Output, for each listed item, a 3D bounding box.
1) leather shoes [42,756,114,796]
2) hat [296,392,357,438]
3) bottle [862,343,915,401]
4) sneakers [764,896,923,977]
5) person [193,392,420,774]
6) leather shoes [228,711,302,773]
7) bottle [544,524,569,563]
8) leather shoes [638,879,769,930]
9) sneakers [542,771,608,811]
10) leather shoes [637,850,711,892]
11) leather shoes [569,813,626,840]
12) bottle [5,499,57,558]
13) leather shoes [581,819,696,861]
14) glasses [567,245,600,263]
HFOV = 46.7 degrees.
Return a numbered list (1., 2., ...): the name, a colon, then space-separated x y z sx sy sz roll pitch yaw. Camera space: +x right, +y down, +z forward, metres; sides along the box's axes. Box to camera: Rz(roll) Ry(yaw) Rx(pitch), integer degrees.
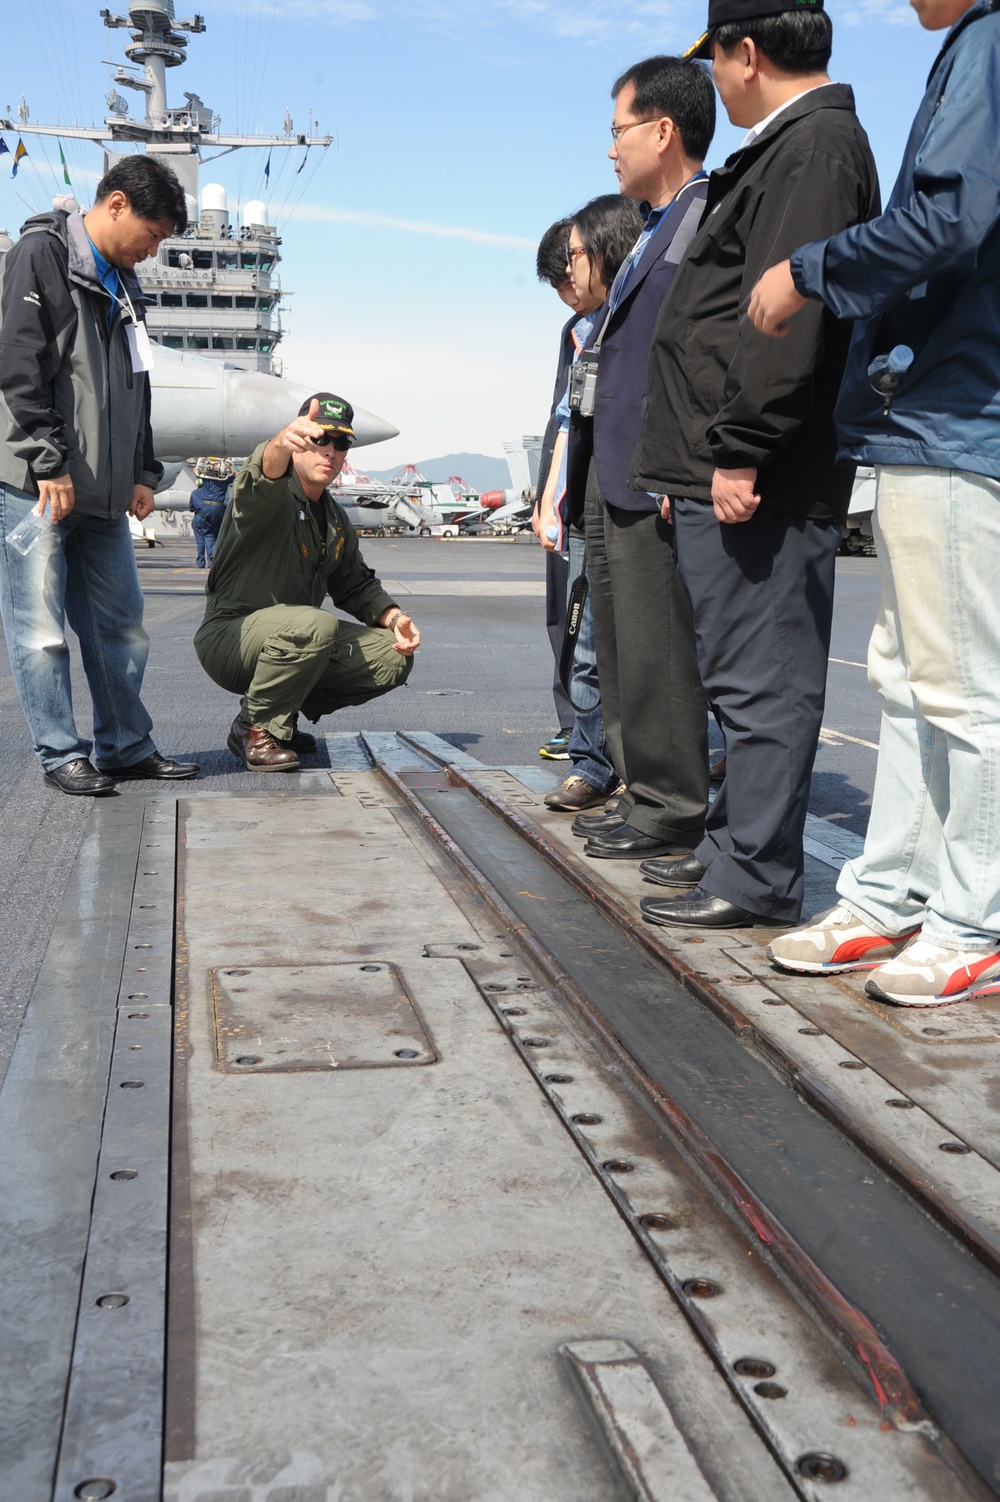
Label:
1. leather shoes: -1.321 0.068 3.637 0.257 0.101 0.107 7 10 30
2. hat: -0.584 -1.136 3.850 0.171 0.166 0.280 1 7 -9
3. bottle: 0.645 -0.644 1.916 0.081 0.124 0.113 4 8 16
4. sneakers: 0.630 0.355 2.181 0.312 0.120 0.107 -1 0 -19
5. person: -0.664 -0.608 4.207 0.667 1.331 0.780 -4 9 -35
6. leather shoes: -0.856 -0.035 4.201 0.147 0.169 0.399 -9 14 -30
7. bottle: 0.205 -0.748 4.015 0.089 0.080 0.064 1 0 -33
8. leather shoes: 0.410 0.336 2.434 0.277 0.104 0.097 8 -1 0
9. sneakers: 0.234 0.136 3.580 0.236 0.088 0.083 0 0 -40
10. leather shoes: 0.394 0.288 2.730 0.184 0.073 0.068 7 3 -13
11. leather shoes: 0.263 0.205 3.166 0.154 0.057 0.055 -5 11 11
12. bottle: -1.492 -0.695 3.643 0.145 0.162 0.037 2 8 5
13. leather shoes: 0.343 0.215 2.969 0.297 0.114 0.104 4 4 -5
14. glasses: 0.251 -1.498 3.472 0.084 0.023 0.080 2 7 -20
